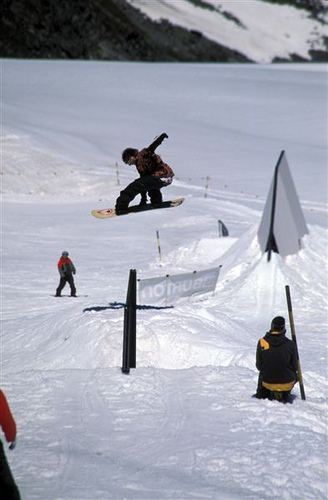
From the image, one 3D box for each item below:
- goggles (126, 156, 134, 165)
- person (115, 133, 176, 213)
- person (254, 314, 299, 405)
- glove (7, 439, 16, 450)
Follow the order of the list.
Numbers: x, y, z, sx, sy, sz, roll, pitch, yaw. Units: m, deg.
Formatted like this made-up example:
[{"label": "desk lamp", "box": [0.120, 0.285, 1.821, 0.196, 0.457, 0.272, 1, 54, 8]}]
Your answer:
[{"label": "goggles", "box": [-0.689, -1.779, 15.968, 0.170, 0.177, 0.122, 15, 19, 33]}, {"label": "person", "box": [-0.386, -1.592, 16.177, 1.020, 1.804, 0.686, 4, 24, 2]}, {"label": "person", "box": [1.780, 1.742, 12.584, 0.685, 1.416, 0.272, 7, 16, 8]}, {"label": "glove", "box": [-2.264, 2.906, 11.925, 0.049, 0.039, 0.216, 8, 36, 10]}]
